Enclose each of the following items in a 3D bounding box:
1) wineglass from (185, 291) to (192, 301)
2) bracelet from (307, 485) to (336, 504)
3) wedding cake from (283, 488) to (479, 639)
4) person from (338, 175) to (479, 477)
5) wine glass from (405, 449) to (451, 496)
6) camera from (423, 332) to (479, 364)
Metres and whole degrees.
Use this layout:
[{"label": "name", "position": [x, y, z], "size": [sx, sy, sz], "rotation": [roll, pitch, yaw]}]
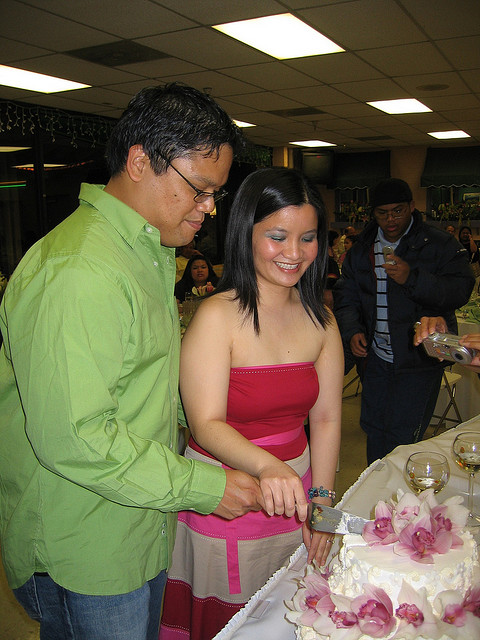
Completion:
[{"label": "wineglass", "position": [-0.560, -0.260, 5.422], "size": [0.094, 0.080, 0.150], "rotation": [1, 1, -5]}, {"label": "bracelet", "position": [0.198, 0.414, 1.231], "size": [0.053, 0.033, 0.058], "rotation": [6, -39, -4]}, {"label": "wedding cake", "position": [0.254, 0.381, 0.792], "size": [0.273, 0.235, 0.147], "rotation": [-24, -32, 13]}, {"label": "person", "position": [1.041, 0.023, 3.414], "size": [0.659, 1.934, 0.749], "rotation": [-10, 15, -32]}, {"label": "wine glass", "position": [0.455, 0.392, 1.229], "size": [0.115, 0.107, 0.111], "rotation": [1, -15, 15]}, {"label": "camera", "position": [0.626, 0.083, 1.528], "size": [0.092, 0.048, 0.144], "rotation": [8, 5, -44]}]
